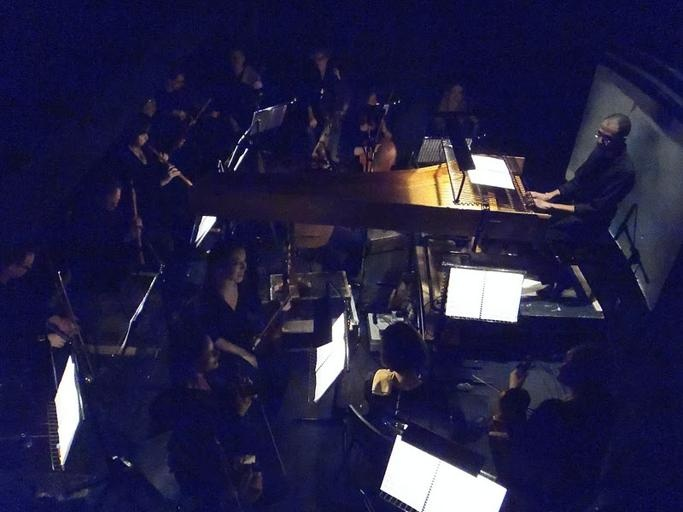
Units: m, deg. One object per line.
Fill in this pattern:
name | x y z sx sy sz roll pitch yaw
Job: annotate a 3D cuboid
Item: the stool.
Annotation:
stool | 1.142 1.293 9.803 0.907 0.884 2.147 -16 6 22
